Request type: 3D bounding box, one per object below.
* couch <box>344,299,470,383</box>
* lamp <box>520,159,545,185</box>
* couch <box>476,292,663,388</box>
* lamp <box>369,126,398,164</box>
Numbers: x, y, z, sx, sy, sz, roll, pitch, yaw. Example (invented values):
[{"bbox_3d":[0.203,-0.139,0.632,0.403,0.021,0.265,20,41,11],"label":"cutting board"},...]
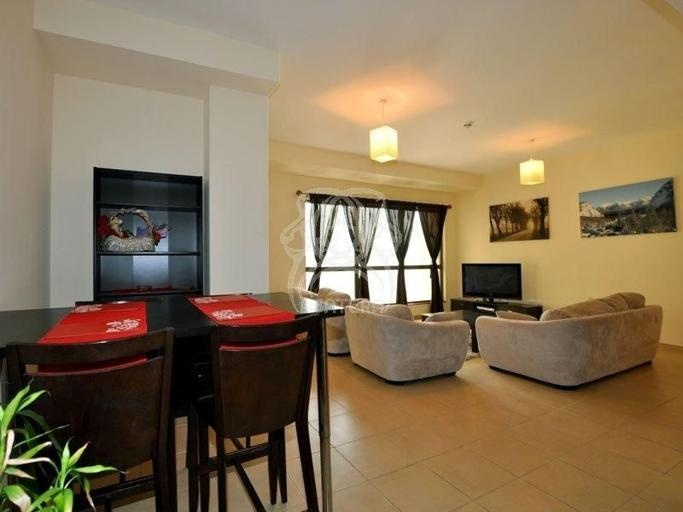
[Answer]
[{"bbox_3d":[0.693,0.878,5.340,1.303,0.848,1.408,-1,3,-3],"label":"couch"},{"bbox_3d":[2.553,-1.118,6.243,0.209,0.305,0.261,-13,17,-43],"label":"lamp"},{"bbox_3d":[2.501,0.850,4.964,1.709,0.870,0.891,-5,13,-17],"label":"couch"},{"bbox_3d":[0.462,-1.240,5.162,0.275,0.369,0.239,2,13,17],"label":"lamp"}]
